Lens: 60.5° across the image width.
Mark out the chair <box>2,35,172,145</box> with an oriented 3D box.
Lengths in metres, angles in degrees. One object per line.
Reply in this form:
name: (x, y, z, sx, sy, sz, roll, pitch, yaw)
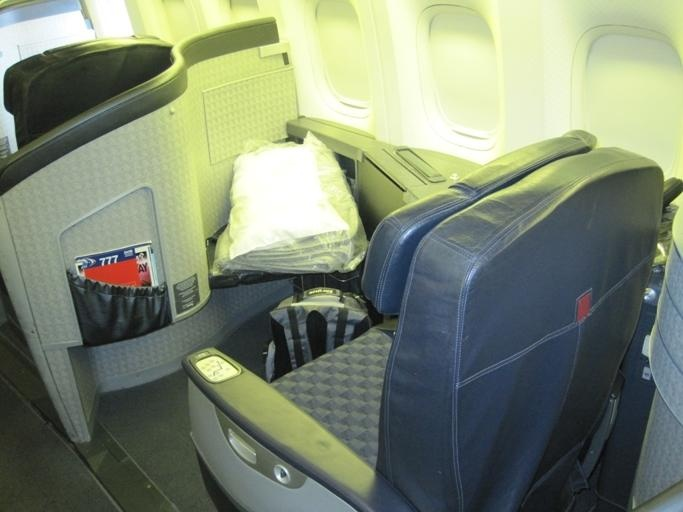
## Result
chair: (-1.041, -0.660, 2.376, 0.473, 0.335, 0.244, -30, 47, -25)
